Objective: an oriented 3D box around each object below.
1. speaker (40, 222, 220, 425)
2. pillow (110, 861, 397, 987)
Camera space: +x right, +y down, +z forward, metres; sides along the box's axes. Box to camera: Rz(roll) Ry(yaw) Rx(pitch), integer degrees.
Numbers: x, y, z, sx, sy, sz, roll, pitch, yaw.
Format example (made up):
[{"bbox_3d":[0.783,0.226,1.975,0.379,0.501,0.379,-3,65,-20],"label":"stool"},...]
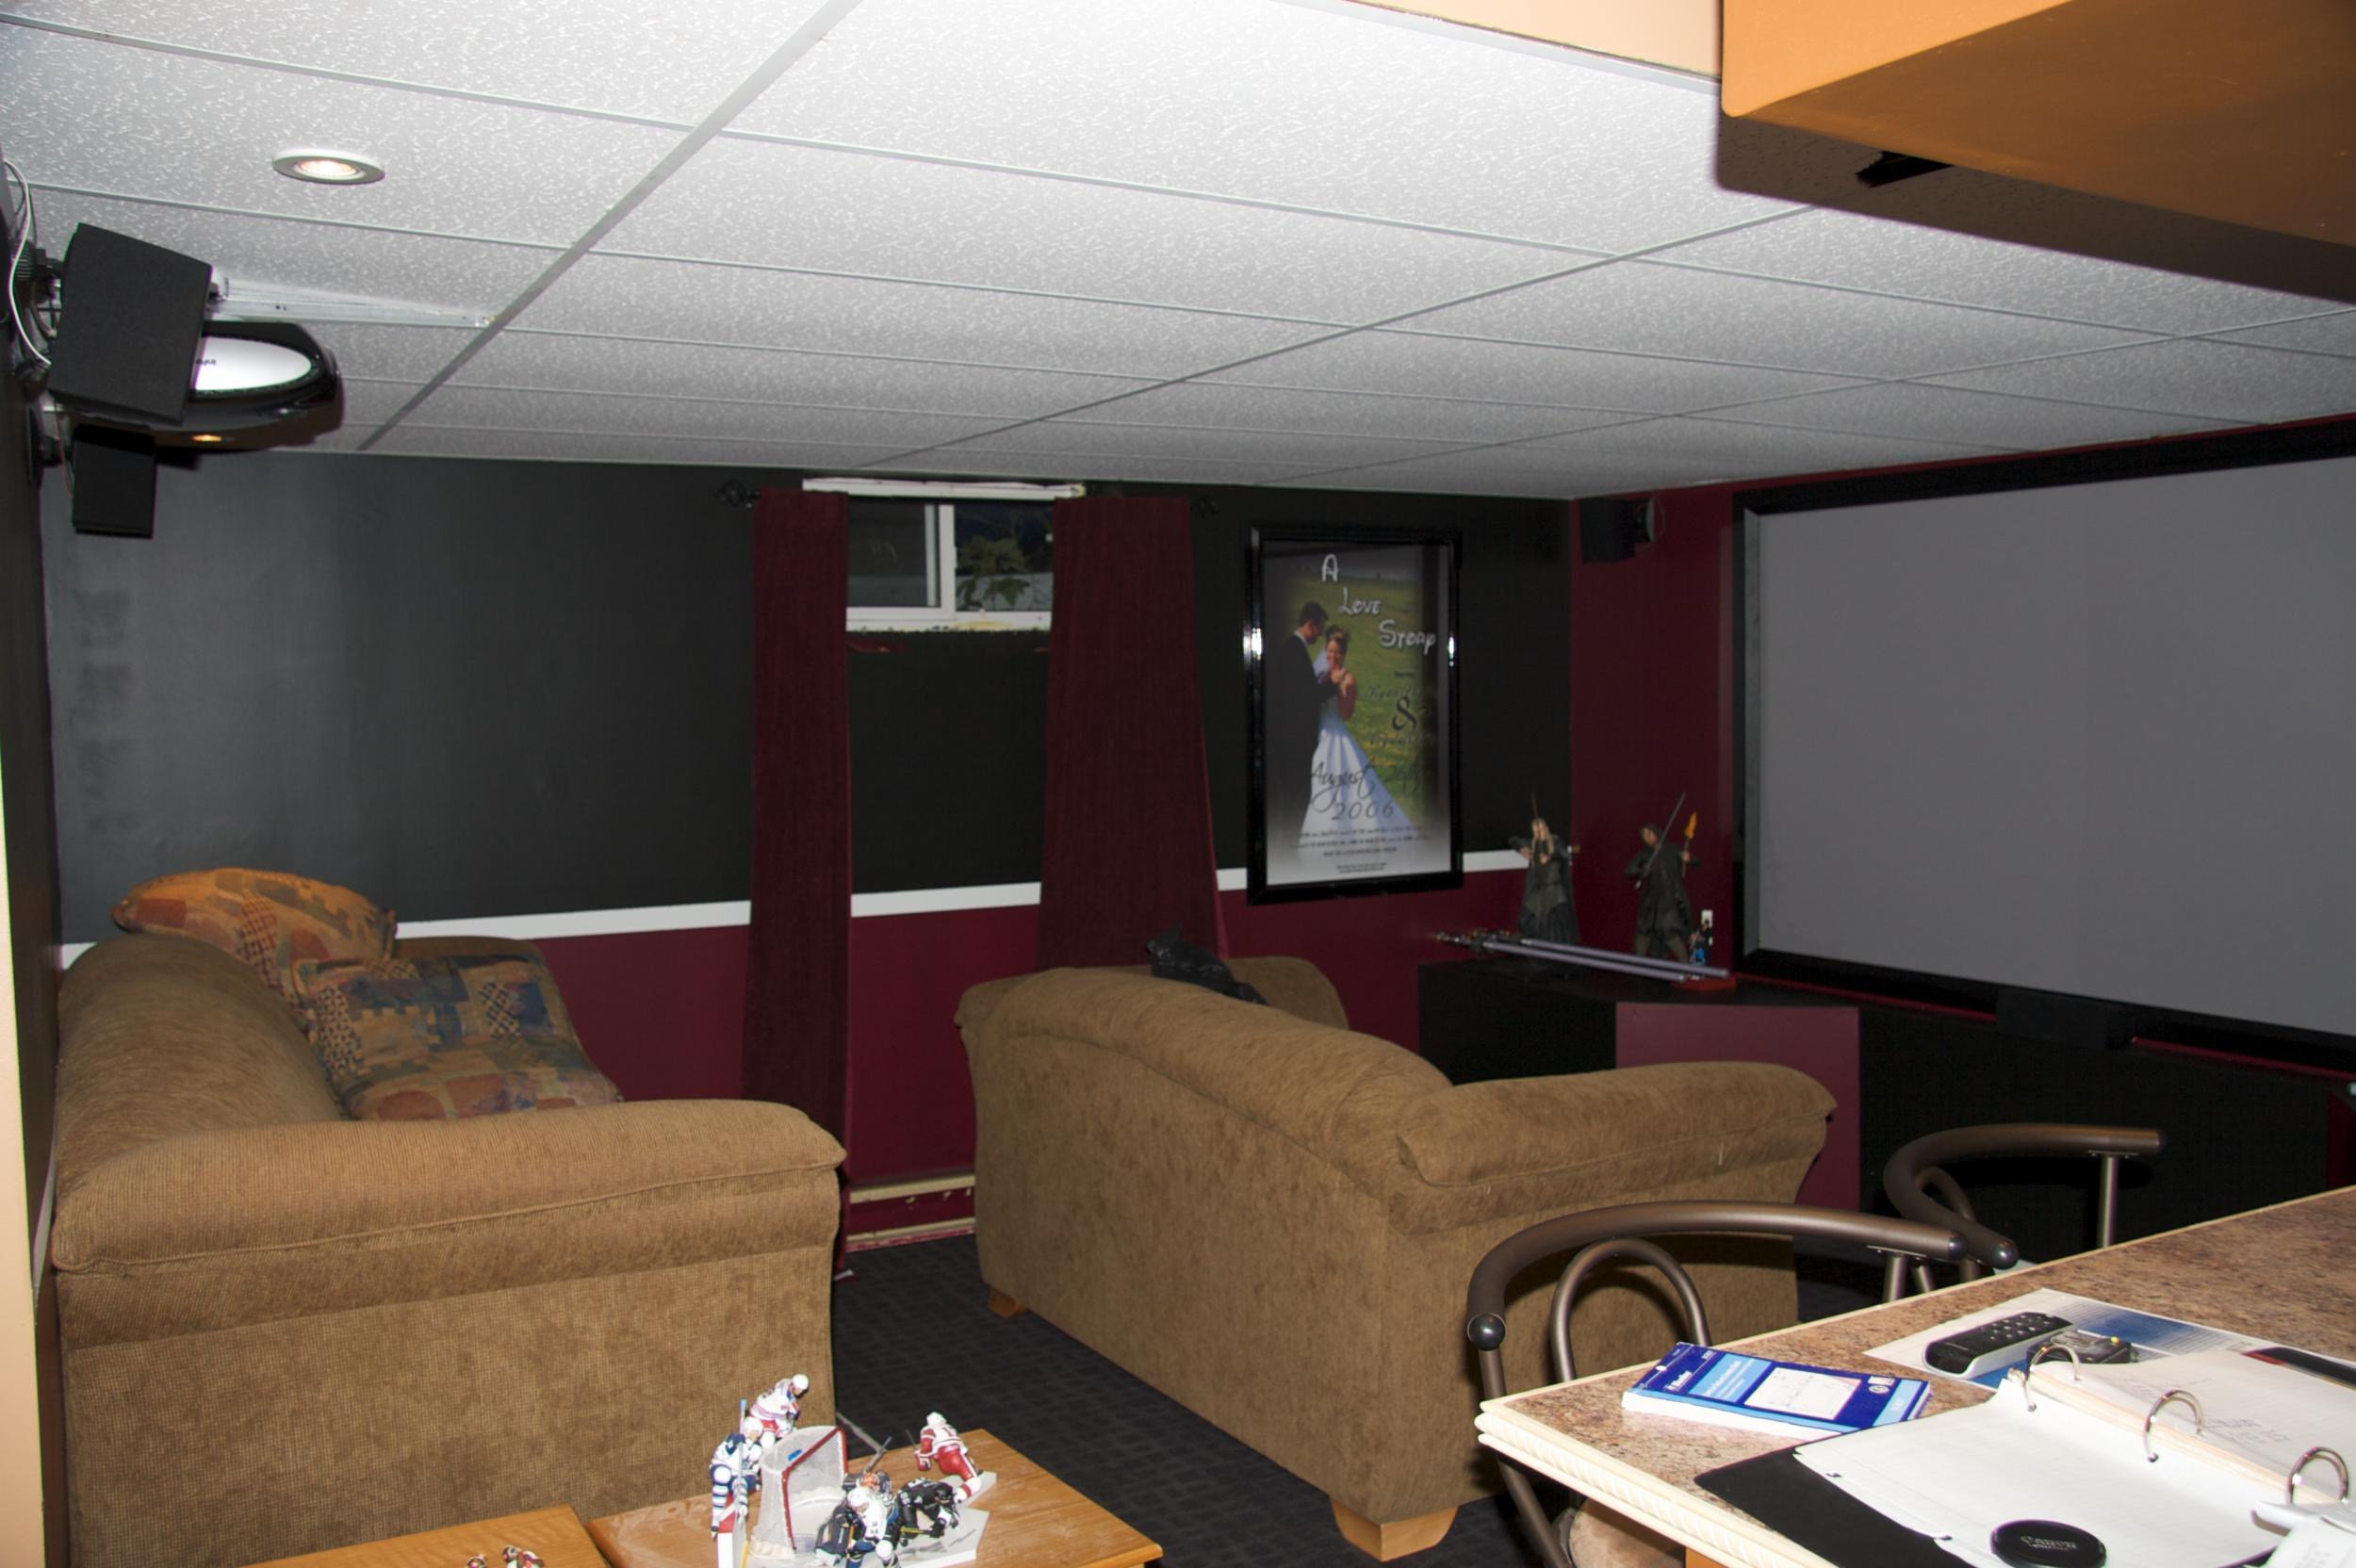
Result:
[{"bbox_3d":[-1.971,-0.951,3.226,0.262,0.265,0.066,4,-35,-29],"label":"speaker"},{"bbox_3d":[-2.737,0.342,5.155,0.744,0.163,0.761,18,4,-3],"label":"pillow"}]
